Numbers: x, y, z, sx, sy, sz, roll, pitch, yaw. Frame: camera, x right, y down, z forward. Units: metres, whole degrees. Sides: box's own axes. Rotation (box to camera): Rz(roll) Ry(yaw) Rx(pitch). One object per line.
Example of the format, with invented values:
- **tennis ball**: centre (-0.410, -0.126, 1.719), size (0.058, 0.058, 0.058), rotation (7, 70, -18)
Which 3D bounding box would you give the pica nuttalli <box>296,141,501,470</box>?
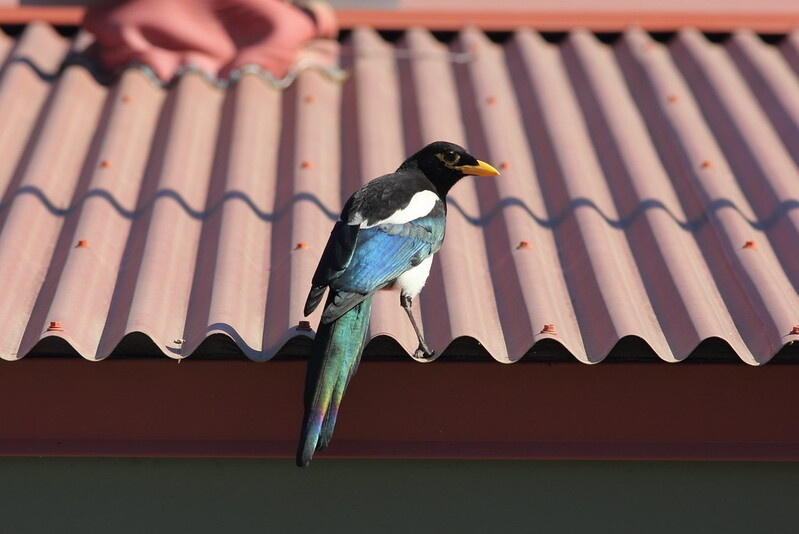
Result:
- **pica nuttalli**: centre (-0.082, 0.138, 5.447), size (0.921, 1.786, 0.482), rotation (11, -7, -44)
